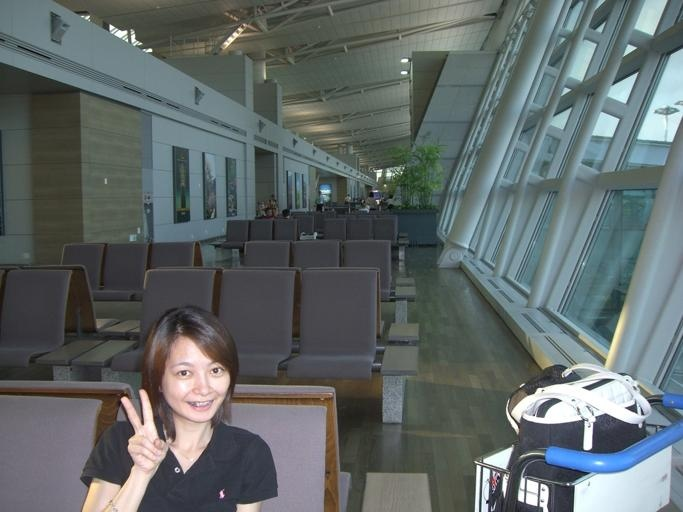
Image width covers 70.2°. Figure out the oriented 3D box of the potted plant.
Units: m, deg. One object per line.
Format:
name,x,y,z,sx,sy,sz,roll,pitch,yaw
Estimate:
potted plant,2.501,-1.987,16.567,1.879,3.769,1.528,-3,-5,0
